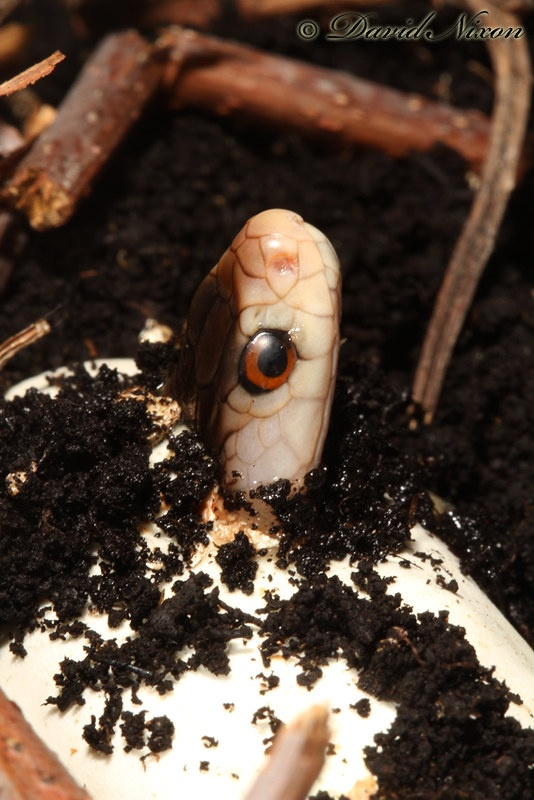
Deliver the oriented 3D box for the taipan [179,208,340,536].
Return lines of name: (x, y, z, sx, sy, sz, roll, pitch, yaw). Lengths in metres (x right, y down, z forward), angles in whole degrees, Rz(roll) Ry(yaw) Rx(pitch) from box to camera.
taipan: (-0.012, -0.051, 1.083, 0.223, 0.348, 0.094, 19, 21, 38)
